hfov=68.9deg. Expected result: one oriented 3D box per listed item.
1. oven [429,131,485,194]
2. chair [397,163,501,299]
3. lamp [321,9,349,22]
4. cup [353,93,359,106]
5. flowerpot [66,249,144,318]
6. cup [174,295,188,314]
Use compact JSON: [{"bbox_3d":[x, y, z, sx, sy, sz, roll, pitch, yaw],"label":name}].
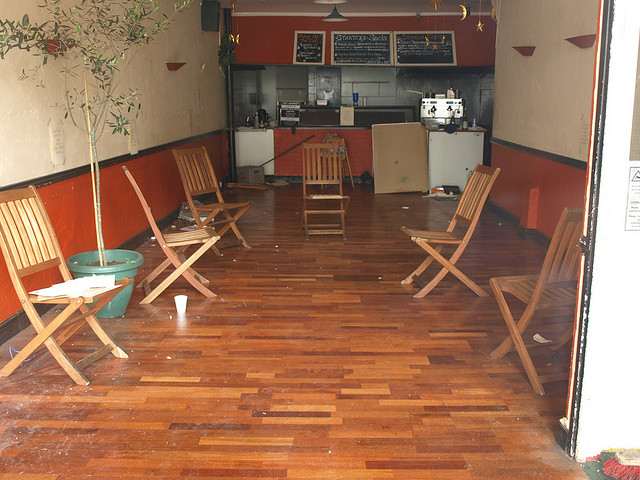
[{"bbox_3d":[2.785,-1.466,8.869,1.235,1.052,0.964,5,11,35],"label":"oven"},{"bbox_3d":[1.160,-0.100,4.330,0.787,1.167,0.994,3,24,8],"label":"chair"},{"bbox_3d":[0.249,-3.679,7.752,0.323,0.176,0.770,0,22,2],"label":"lamp"},{"bbox_3d":[0.786,-2.964,10.021,0.125,0.243,0.287,1,23,4],"label":"cup"},{"bbox_3d":[-1.725,0.433,3.740,0.468,0.341,0.479,0,1,24],"label":"flowerpot"},{"bbox_3d":[-1.130,0.523,3.836,0.142,0.132,0.127,-1,-9,0],"label":"cup"}]
